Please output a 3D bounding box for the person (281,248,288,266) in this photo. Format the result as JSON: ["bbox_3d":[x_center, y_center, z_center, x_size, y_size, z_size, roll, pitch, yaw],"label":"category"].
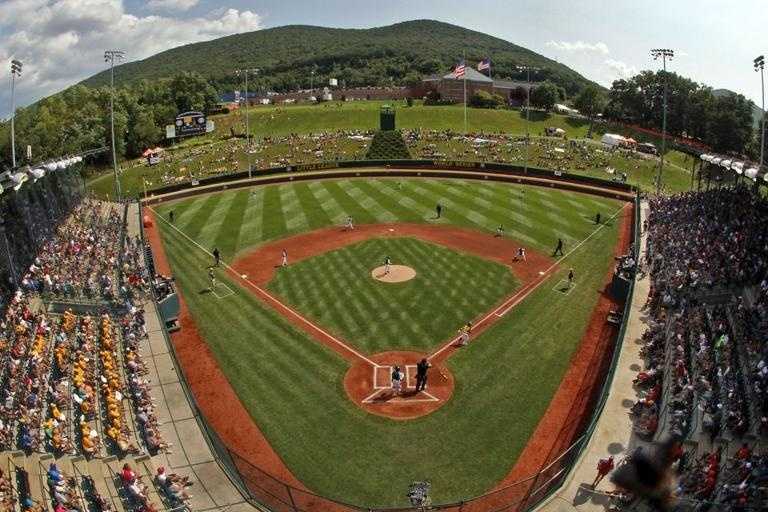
[{"bbox_3d":[-11.223,0.193,66.802,0.598,0.467,1.709,-20,31,-9],"label":"person"}]

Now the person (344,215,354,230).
[{"bbox_3d":[-4.474,-4.222,75.459,1.019,1.590,0.606,15,68,7],"label":"person"}]

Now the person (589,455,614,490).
[{"bbox_3d":[15.187,14.950,41.495,1.404,2.104,0.855,40,16,18],"label":"person"}]
